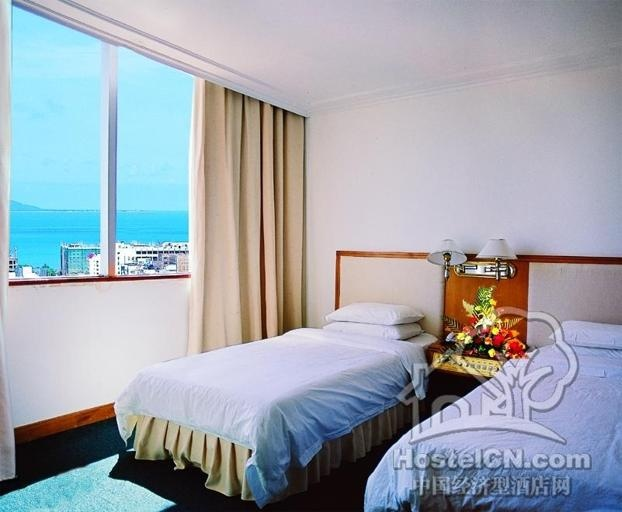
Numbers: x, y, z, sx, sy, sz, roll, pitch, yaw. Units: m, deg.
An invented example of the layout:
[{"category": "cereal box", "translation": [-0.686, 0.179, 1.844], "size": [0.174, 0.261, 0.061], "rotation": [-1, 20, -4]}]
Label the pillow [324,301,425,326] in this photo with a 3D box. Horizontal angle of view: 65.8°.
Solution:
[{"category": "pillow", "translation": [0.561, 0.503, 4.252], "size": [0.762, 0.200, 0.436], "rotation": [4, 15, 38]}]

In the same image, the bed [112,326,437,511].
[{"category": "bed", "translation": [-0.008, 0.897, 3.121], "size": [1.016, 0.407, 1.305], "rotation": [0, 1, 38]}]
